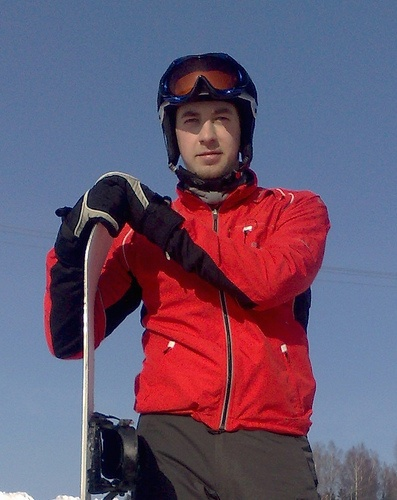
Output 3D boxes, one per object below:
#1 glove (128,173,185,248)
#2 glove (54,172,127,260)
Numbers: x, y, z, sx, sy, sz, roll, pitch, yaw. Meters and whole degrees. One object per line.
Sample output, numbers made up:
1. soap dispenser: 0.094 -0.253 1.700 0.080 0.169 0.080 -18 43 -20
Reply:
1. glove: -0.217 -0.161 5.470 0.217 0.137 0.392 -1 -23 8
2. glove: -0.473 -0.219 5.640 0.211 0.381 0.507 30 -2 -6
